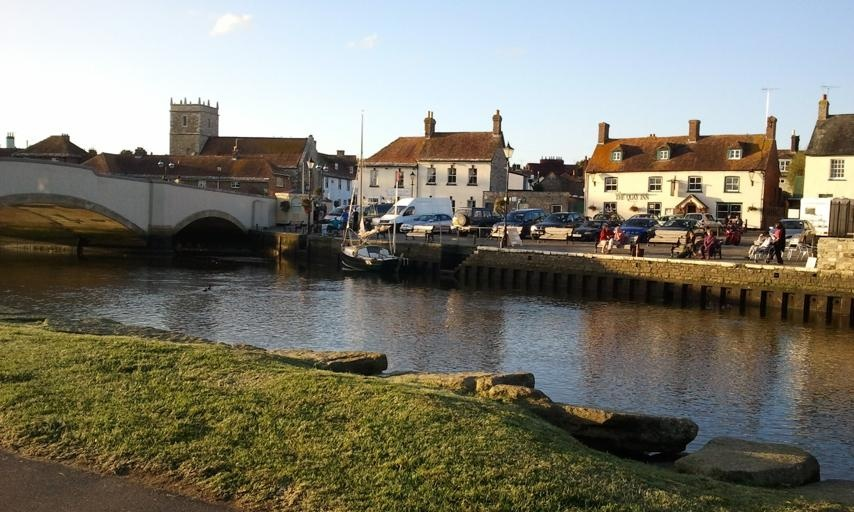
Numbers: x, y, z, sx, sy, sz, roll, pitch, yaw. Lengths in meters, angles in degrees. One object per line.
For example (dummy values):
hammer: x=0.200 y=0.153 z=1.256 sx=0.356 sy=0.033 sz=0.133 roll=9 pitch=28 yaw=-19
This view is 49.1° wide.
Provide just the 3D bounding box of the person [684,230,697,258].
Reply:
person: x=14.777 y=-0.627 z=52.528 sx=0.664 sy=0.993 sz=1.241 roll=3 pitch=2 yaw=15

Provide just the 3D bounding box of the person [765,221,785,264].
person: x=18.378 y=-0.678 z=48.839 sx=0.842 sy=2.163 sz=0.862 roll=9 pitch=14 yaw=27

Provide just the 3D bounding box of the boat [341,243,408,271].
boat: x=-3.849 y=0.155 z=61.561 sx=4.239 sy=1.779 sz=1.887 roll=4 pitch=2 yaw=41

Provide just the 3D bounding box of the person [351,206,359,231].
person: x=-6.200 y=-3.005 z=75.878 sx=0.520 sy=1.938 sz=1.047 roll=7 pitch=-1 yaw=-32

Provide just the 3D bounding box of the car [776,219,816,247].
car: x=22.355 y=-1.397 z=56.633 sx=2.007 sy=1.350 sz=4.431 roll=-1 pitch=0 yaw=35

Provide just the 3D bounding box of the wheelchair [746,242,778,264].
wheelchair: x=18.077 y=-0.095 z=50.423 sx=0.894 sy=0.952 sz=1.729 roll=0 pitch=2 yaw=15

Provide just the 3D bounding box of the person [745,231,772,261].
person: x=17.753 y=-0.458 z=49.932 sx=1.018 sy=1.125 sz=2.062 roll=1 pitch=7 yaw=16

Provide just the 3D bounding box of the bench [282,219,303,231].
bench: x=-12.365 y=-2.690 z=83.497 sx=2.076 sy=0.874 sz=8.234 roll=2 pitch=2 yaw=-10
